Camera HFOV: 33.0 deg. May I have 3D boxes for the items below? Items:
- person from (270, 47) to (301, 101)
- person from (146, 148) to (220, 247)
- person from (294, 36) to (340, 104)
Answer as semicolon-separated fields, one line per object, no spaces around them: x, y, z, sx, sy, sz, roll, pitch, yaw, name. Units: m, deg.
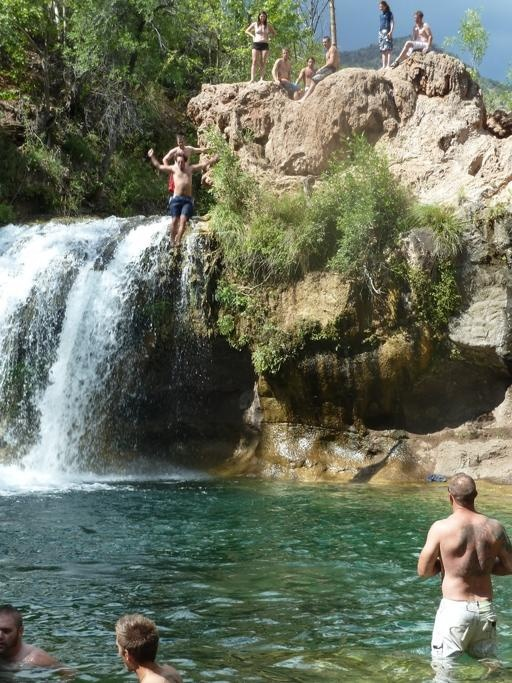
0.541;-4.637;15.186;0.481;1.054;0.495;9;8;24;person
-1.235;-2.374;14.346;0.966;1.662;0.688;0;1;-5;person
1.163;-4.895;15.548;0.648;1.266;0.462;1;-7;3;person
